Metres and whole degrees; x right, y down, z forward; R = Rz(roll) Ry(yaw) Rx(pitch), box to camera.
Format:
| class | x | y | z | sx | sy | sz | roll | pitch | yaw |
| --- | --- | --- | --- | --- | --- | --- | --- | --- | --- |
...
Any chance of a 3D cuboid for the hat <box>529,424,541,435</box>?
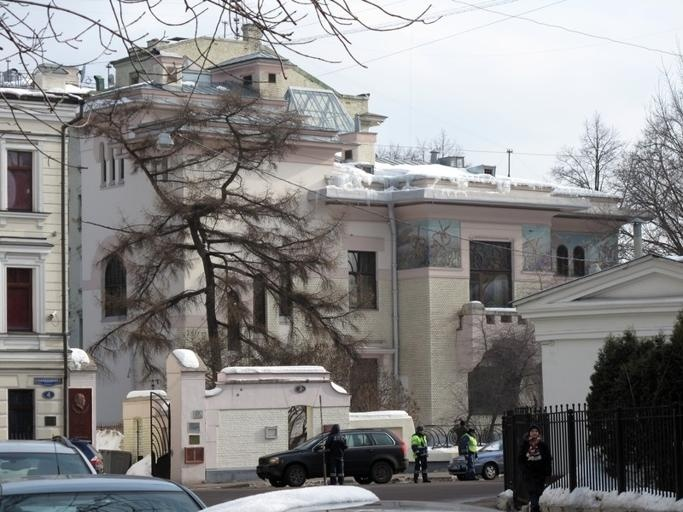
| class | x | y | z | sx | sy | sz | roll | pitch | yaw |
| --- | --- | --- | --- | --- | --- | --- | --- | --- | --- |
| hat | 4.938 | 4.655 | 47.441 | 0.223 | 0.226 | 0.294 | 1 | -21 | 1 |

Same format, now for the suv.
| class | x | y | z | sx | sy | sz | roll | pitch | yaw |
| --- | --- | --- | --- | --- | --- | --- | --- | --- | --- |
| suv | -0.333 | 6.819 | 60.821 | 4.769 | 1.715 | 2.016 | 2 | -8 | -17 |

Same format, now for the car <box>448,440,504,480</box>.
| class | x | y | z | sx | sy | sz | roll | pitch | yaw |
| --- | --- | --- | --- | --- | --- | --- | --- | --- | --- |
| car | 4.676 | 7.258 | 62.981 | 2.336 | 0.833 | 1.044 | 6 | -12 | -28 |
